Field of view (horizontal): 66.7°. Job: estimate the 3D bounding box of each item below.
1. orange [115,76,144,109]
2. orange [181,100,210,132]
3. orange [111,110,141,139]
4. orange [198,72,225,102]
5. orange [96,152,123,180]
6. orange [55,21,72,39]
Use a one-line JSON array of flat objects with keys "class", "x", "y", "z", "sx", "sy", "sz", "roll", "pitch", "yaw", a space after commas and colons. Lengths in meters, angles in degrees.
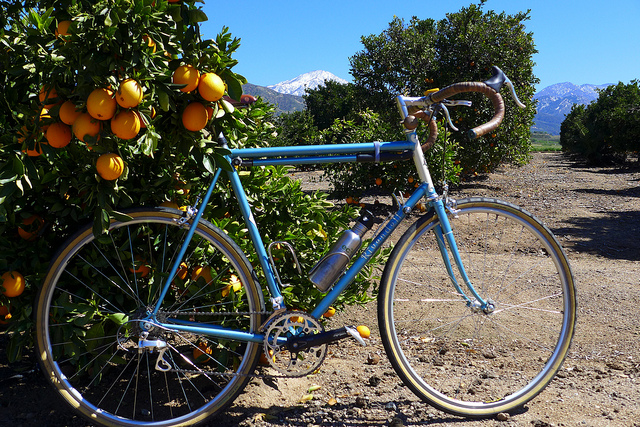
[{"class": "orange", "x": -1.182, "y": -0.745, "z": 3.002, "sx": 0.177, "sy": 0.186, "sz": 0.093, "roll": -7, "pitch": 7, "yaw": -22}, {"class": "orange", "x": -0.827, "y": -0.637, "z": 3.224, "sx": 0.174, "sy": 0.228, "sz": 0.180, "roll": 3, "pitch": -14, "yaw": -4}, {"class": "orange", "x": -1.237, "y": -0.560, "z": 3.067, "sx": 0.163, "sy": 0.204, "sz": 0.158, "roll": 3, "pitch": -6, "yaw": -32}, {"class": "orange", "x": -0.719, "y": -0.824, "z": 3.189, "sx": 0.172, "sy": 0.223, "sz": 0.170, "roll": -2, "pitch": -5, "yaw": -31}, {"class": "orange", "x": -1.344, "y": -0.301, "z": 3.056, "sx": 0.168, "sy": 0.169, "sz": 0.068, "roll": -4, "pitch": 6, "yaw": 8}, {"class": "orange", "x": -1.607, "y": -1.142, "z": 3.031, "sx": 0.093, "sy": 0.113, "sz": 0.093, "roll": -7, "pitch": 43, "yaw": -48}]
